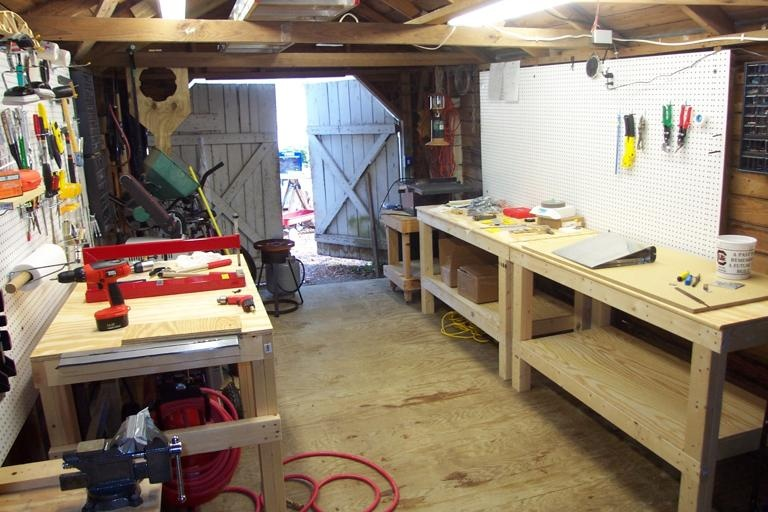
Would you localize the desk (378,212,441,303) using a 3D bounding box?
[{"bbox_3d":[0.183,-0.018,6.167,0.635,0.839,0.693,-4,15,-17],"label":"desk"}]

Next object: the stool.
[{"bbox_3d":[-1.137,0.188,6.269,0.684,0.824,0.570,-5,10,-15],"label":"stool"}]

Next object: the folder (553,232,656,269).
[{"bbox_3d":[1.486,-0.031,3.722,0.693,0.104,0.701,-2,15,-5],"label":"folder"}]

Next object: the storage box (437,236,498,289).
[{"bbox_3d":[0.807,0.064,5.652,0.519,0.448,0.633,-5,14,-26],"label":"storage box"}]

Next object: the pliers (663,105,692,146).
[{"bbox_3d":[1.950,-0.866,3.712,0.181,0.256,0.070,5,7,19],"label":"pliers"}]

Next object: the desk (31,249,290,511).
[{"bbox_3d":[-1.125,0.557,3.281,1.223,1.074,1.634,1,10,-16],"label":"desk"}]
